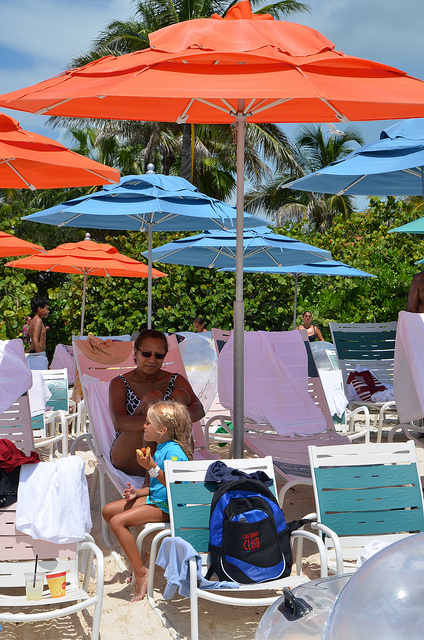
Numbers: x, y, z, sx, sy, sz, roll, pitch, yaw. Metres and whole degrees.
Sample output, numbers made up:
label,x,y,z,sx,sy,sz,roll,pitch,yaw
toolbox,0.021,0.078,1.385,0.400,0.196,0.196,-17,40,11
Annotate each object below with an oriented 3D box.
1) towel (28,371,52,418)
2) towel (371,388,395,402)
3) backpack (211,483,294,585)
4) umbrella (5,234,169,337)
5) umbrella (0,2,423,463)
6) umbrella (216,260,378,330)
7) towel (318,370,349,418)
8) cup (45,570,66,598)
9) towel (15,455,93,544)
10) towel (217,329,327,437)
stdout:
label,x,y,z,sx,sy,sz,roll,pitch,yaw
towel,-1.405,0.663,5.700,0.180,0.583,0.396,2,-4,-20
towel,1.714,0.758,6.848,0.225,0.072,0.171,-2,3,-33
backpack,0.160,0.888,2.882,0.338,0.356,0.299,-3,4,-2
umbrella,-1.746,-0.660,9.677,1.798,1.410,1.768,3,2,-24
umbrella,0.070,-0.336,3.716,1.976,2.641,1.937,-4,4,-13
umbrella,0.368,-0.503,10.299,1.903,1.282,2.057,-1,-5,37
towel,1.107,0.641,6.235,0.256,0.441,0.287,-2,6,-16
cup,-0.583,1.012,2.629,0.077,0.080,0.081,-2,-17,-1
towel,-0.633,0.739,2.800,0.315,0.328,0.130,4,-24,-4
towel,0.457,0.514,5.431,0.768,0.797,0.648,-4,5,-24
